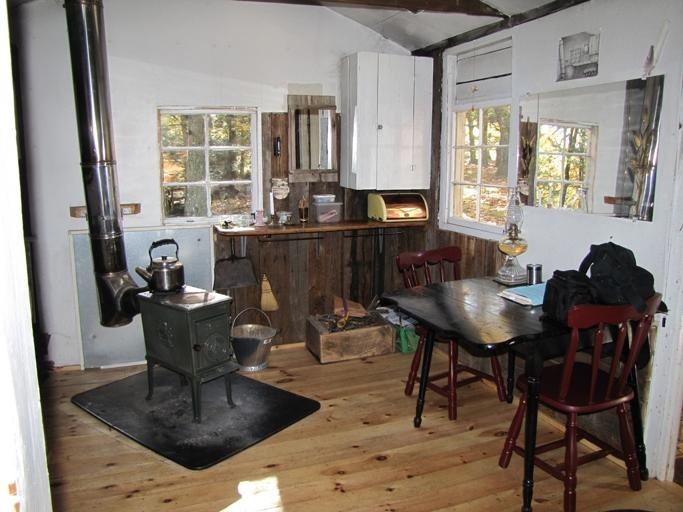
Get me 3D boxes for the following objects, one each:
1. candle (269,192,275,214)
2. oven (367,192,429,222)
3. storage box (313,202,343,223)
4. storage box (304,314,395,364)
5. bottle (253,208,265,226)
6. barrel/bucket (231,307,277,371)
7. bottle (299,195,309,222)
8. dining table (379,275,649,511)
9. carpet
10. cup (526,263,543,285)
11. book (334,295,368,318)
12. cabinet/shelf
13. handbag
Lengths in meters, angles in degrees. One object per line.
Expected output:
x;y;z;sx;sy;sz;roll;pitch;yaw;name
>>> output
-0.607;-0.467;4.640;0.045;0.195;0.095;-7;11;-22;candle
0.495;-0.449;4.798;0.430;0.257;0.379;-6;10;-19;oven
-0.131;-0.389;4.747;0.211;0.133;0.200;0;9;-6;storage box
0.054;0.613;4.623;0.584;0.245;0.406;-3;7;-23;storage box
-0.721;-0.335;4.582;0.099;0.142;0.212;-4;10;-9;bottle
-0.781;0.688;4.470;0.507;0.483;0.447;2;23;-17;barrel/bucket
-0.344;-0.419;4.712;0.098;0.232;0.167;-3;10;-4;bottle
0.974;0.615;3.196;1.102;0.873;1.183;-9;18;-24;dining table
-1.069;1.089;3.834;1.554;0.162;1.060;4;11;36;carpet
1.280;0.121;3.539;0.126;0.133;0.121;-1;10;0;cup
0.069;0.471;4.772;0.222;0.077;0.221;15;10;26;book
0.389;-1.171;4.734;0.771;0.996;0.413;-7;16;-26;cabinet/shelf
1.178;0.235;2.880;0.308;0.309;0.246;-4;8;-11;handbag
